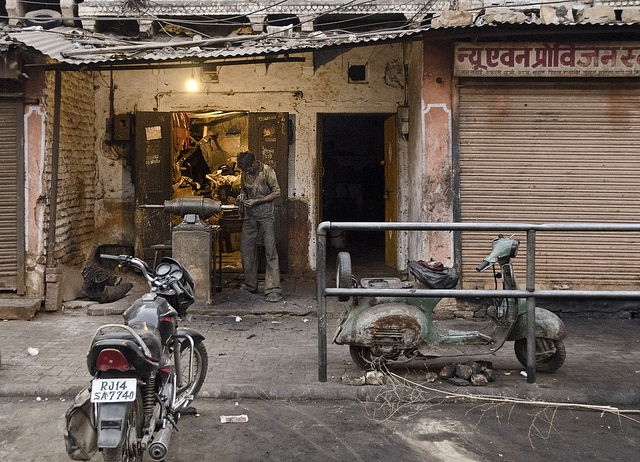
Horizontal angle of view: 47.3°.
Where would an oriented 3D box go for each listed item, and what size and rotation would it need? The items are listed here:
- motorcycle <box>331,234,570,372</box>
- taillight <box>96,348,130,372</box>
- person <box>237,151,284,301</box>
[{"bbox_3d":[1.411,0.917,9.713,3.311,2.007,1.450,0,8,0],"label":"motorcycle"},{"bbox_3d":[-1.887,1.181,6.696,0.202,0.168,0.036,2,16,3],"label":"taillight"},{"bbox_3d":[-0.993,-0.061,12.178,0.887,2.427,0.714,5,14,23],"label":"person"}]
